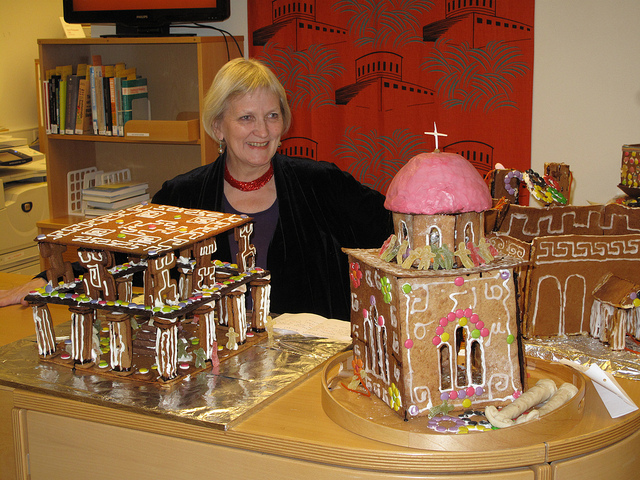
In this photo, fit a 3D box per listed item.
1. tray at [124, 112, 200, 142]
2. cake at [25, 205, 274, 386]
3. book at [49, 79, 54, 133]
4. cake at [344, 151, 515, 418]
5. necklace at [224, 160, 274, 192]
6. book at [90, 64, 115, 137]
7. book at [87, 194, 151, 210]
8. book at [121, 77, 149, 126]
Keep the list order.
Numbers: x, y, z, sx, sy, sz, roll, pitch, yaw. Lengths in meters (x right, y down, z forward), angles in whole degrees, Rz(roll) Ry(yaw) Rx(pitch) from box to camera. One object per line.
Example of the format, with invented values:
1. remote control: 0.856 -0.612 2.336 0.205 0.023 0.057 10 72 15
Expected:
1. tray: -0.861 -0.606 3.738 0.397 0.126 0.163 4 8 22
2. cake: -0.521 0.124 1.986 0.645 0.421 0.460 5 9 26
3. book: -1.567 -0.786 3.991 0.018 0.304 0.048 -2 9 -20
4. cake: 0.259 0.091 1.667 0.354 0.616 0.273 -1 8 -15
5. necklace: -0.304 -0.258 2.914 0.228 0.051 0.218 -12 19 -20
6. book: -1.313 -0.820 4.058 0.165 0.370 0.422 -6 -2 -20
7. book: -1.107 -0.210 3.677 0.179 0.041 0.190 8 16 44
8. book: -1.129 -0.822 3.991 0.195 0.248 0.311 4 18 2
